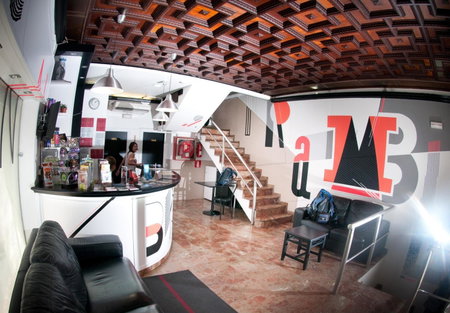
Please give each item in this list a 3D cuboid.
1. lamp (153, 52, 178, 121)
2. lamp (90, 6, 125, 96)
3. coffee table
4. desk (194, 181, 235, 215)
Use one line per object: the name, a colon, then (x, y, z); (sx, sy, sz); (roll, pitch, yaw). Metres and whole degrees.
lamp: (-1.424, -1.376, 7.128); (0.555, 1.452, 3.793); (2, 8, -13)
lamp: (-1.474, -1.308, 4.105); (0.369, 0.374, 1.070); (15, -25, -36)
coffee table: (1.546, 1.553, 5.494); (0.695, 0.753, 0.790); (7, 4, 45)
desk: (-0.132, 1.104, 7.930); (0.910, 0.835, 0.906); (7, 3, -30)
